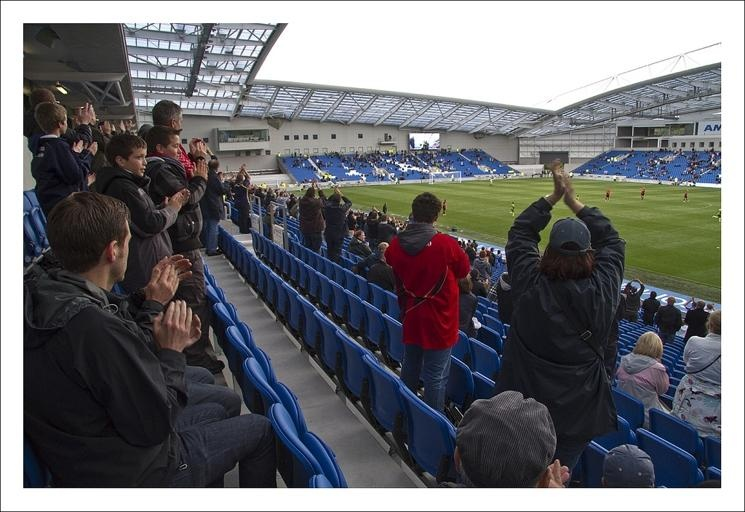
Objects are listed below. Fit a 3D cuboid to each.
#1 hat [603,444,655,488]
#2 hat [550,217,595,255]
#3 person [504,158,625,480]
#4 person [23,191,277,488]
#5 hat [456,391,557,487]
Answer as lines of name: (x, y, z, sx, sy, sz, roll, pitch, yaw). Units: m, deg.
hat: (1.586, 1.331, 2.747, 0.262, 0.244, 0.204, 2, 10, 2)
hat: (1.392, -0.148, 3.063, 0.314, 0.237, 0.188, 0, 10, -9)
person: (1.488, 0.806, 3.577, 0.949, 2.743, 0.851, 3, 25, 21)
person: (-1.277, 0.573, 2.454, 1.096, 1.821, 0.644, -6, 12, -36)
hat: (0.586, 0.805, 2.038, 0.348, 0.431, 0.430, 12, 33, 22)
